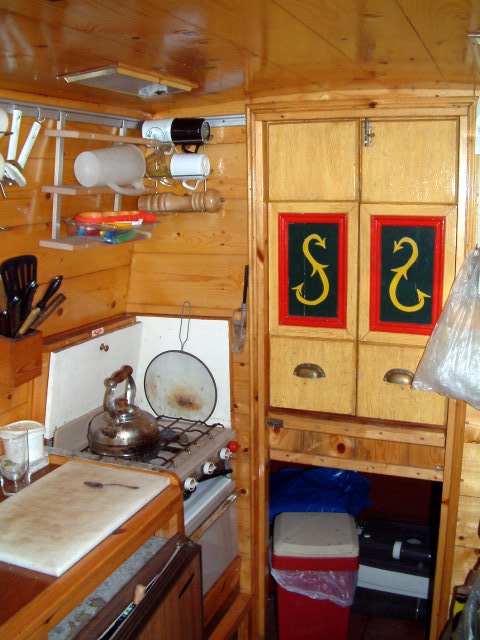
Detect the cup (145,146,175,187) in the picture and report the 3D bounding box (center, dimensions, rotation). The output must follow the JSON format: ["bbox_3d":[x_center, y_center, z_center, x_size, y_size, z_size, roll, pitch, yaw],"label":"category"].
[{"bbox_3d":[-0.288,-0.533,1.781,0.106,0.124,0.102,2,19,-1],"label":"cup"}]

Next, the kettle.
[{"bbox_3d":[-0.382,0.296,1.623,0.231,0.245,0.230,8,12,19],"label":"kettle"}]

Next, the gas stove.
[{"bbox_3d":[-0.284,0.517,1.824,0.434,0.387,0.654,0,2,15],"label":"gas stove"}]

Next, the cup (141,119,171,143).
[{"bbox_3d":[-0.292,-0.642,1.730,0.139,0.082,0.047,8,11,31],"label":"cup"}]

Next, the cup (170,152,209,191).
[{"bbox_3d":[-0.175,-0.517,1.794,0.143,0.120,0.203,1,9,-5],"label":"cup"}]

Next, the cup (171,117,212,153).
[{"bbox_3d":[-0.167,-0.643,1.745,0.118,0.087,0.139,3,10,8],"label":"cup"}]

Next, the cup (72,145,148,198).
[{"bbox_3d":[-0.370,-0.447,1.492,0.105,0.154,0.268,5,10,19],"label":"cup"}]
